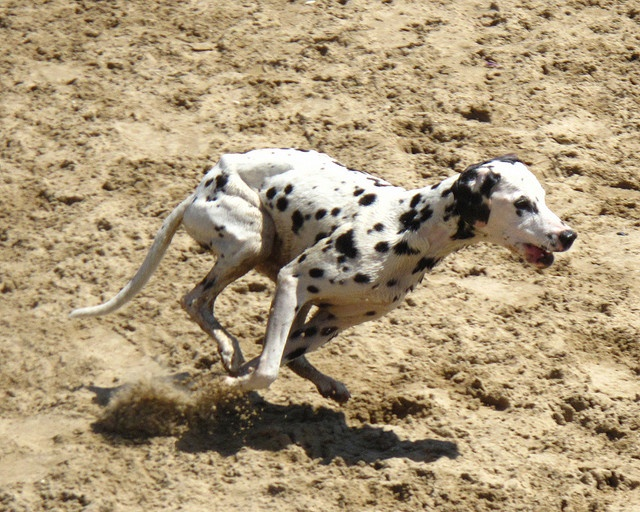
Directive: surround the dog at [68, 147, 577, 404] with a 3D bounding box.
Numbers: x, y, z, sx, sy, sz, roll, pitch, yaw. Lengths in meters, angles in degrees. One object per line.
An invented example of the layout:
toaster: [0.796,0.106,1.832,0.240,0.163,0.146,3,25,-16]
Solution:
dog: [0.111,-0.001,7.185,3.276,1.492,1.088,14,24,39]
